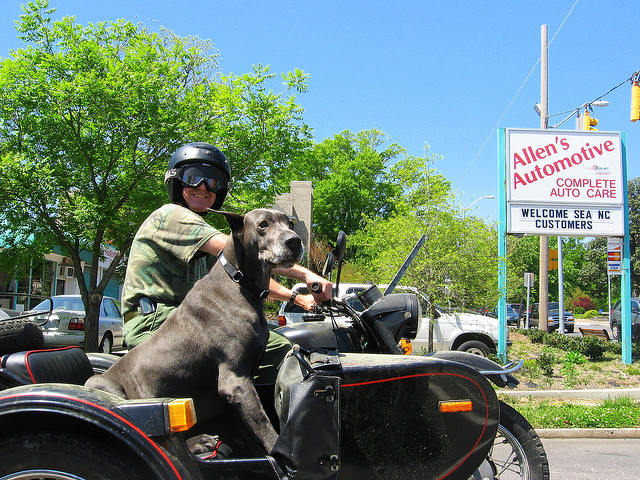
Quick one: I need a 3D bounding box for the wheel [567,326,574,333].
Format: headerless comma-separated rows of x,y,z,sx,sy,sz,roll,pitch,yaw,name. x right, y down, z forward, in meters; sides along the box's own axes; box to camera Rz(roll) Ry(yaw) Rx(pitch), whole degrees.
15.793,5.638,36.800,0.355,0.264,1.090,0,-5,21,wheel

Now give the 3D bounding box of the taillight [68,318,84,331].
-6.301,2.163,15.086,0.290,0.203,0.300,1,-2,5,taillight

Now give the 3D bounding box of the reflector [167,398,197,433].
-0.836,1.043,3.584,0.143,0.199,0.276,-3,3,7,reflector

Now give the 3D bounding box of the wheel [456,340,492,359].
3.661,2.514,13.741,0.826,0.313,0.475,2,-4,-4,wheel

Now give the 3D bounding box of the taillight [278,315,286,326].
-0.726,1.532,11.236,0.131,0.194,0.278,2,-4,-5,taillight

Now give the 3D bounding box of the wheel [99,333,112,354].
-6.102,2.895,16.661,0.252,0.499,1.332,3,-4,-11,wheel
